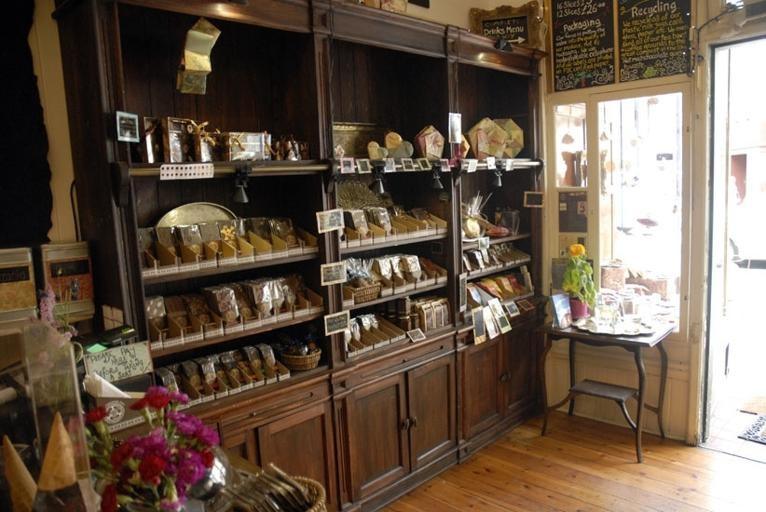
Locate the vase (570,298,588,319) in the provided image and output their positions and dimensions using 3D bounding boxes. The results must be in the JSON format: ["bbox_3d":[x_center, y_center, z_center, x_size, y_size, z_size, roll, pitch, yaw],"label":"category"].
[{"bbox_3d":[1.750,0.481,5.047,0.154,0.146,0.176,0,-1,2],"label":"vase"}]

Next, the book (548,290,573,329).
[{"bbox_3d":[1.585,0.476,4.987,0.060,0.357,0.310,-4,-1,41],"label":"book"}]

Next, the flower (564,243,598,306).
[{"bbox_3d":[1.758,0.192,5.038,0.277,0.579,0.143,-2,11,16],"label":"flower"}]

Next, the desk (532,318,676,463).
[{"bbox_3d":[1.915,0.971,5.164,1.393,1.349,0.950,2,3,42],"label":"desk"}]
